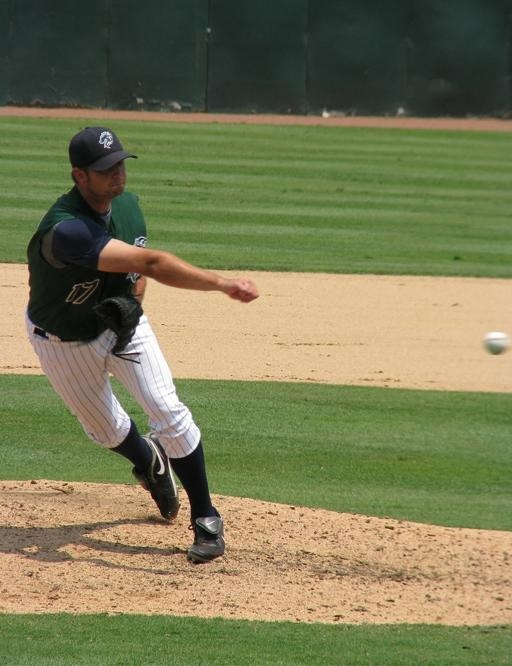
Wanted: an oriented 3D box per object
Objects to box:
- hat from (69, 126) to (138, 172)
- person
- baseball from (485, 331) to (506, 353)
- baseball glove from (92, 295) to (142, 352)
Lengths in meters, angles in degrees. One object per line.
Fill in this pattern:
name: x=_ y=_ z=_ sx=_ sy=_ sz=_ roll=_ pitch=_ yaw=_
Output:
hat: x=-0.885 y=-1.070 z=8.384 sx=0.301 sy=0.230 sz=0.450 roll=-20 pitch=17 yaw=-35
person: x=-0.778 y=0.088 z=8.564 sx=1.134 sy=2.564 sz=0.827 roll=-5 pitch=9 yaw=-3
baseball: x=1.673 y=0.072 z=10.286 sx=0.136 sy=0.143 sz=0.142 roll=-2 pitch=5 yaw=2
baseball glove: x=-0.816 y=-0.063 z=8.436 sx=0.233 sy=0.300 sz=0.227 roll=7 pitch=30 yaw=38
